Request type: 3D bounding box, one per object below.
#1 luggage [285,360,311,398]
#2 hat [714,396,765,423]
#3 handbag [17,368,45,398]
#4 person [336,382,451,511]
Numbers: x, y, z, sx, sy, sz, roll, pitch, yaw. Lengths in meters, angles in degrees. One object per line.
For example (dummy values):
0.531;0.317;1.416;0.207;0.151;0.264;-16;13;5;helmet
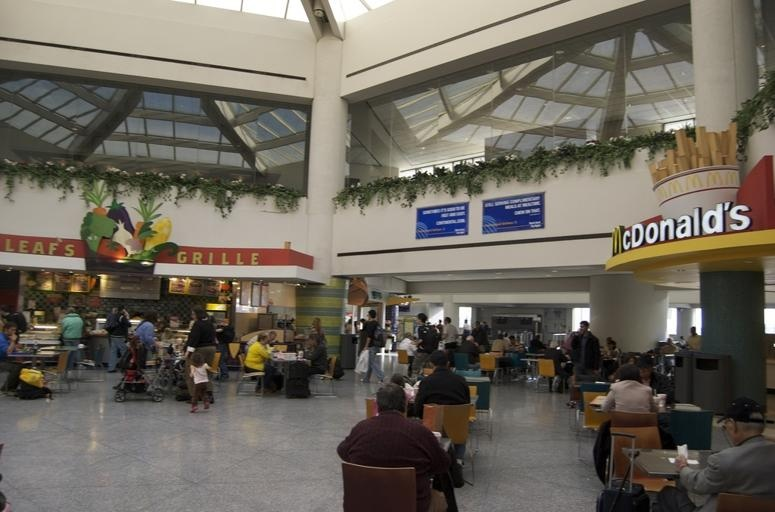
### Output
-2.359;3.019;13.985;0.799;0.936;0.741;7;-18;-31;luggage
4.070;1.743;6.760;0.426;0.271;0.557;7;-6;-33;hat
-7.838;2.791;12.638;0.724;0.598;0.502;3;2;-19;handbag
0.095;2.182;6.590;1.257;1.382;0.385;1;-8;6;person
